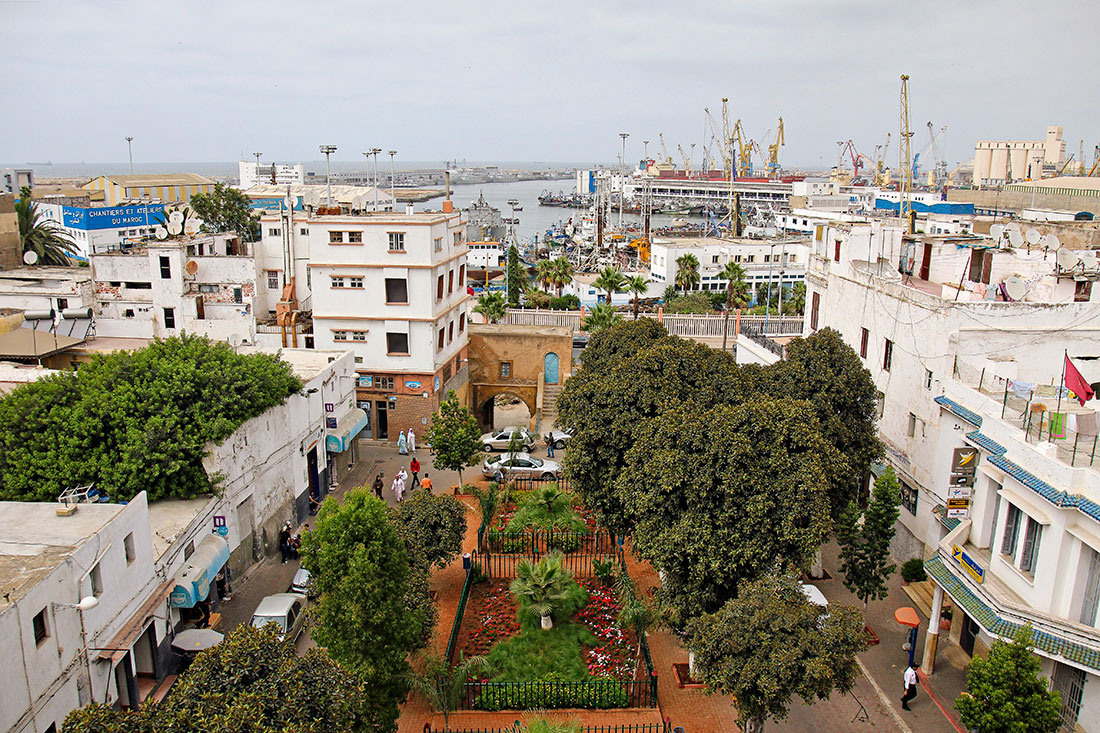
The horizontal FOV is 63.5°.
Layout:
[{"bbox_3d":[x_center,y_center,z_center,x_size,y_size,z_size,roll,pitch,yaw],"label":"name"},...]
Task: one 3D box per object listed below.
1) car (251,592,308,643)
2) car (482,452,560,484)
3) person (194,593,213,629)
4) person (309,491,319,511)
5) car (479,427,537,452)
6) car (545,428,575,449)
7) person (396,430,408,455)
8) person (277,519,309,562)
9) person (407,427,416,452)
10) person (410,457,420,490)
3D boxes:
[{"bbox_3d":[-10.607,10.031,35.209,1.671,1.608,2.316,0,14,14],"label":"car"},{"bbox_3d":[-1.574,5.549,48.320,3.813,1.168,1.717,-2,11,-1],"label":"car"},{"bbox_3d":[-13.789,9.719,35.115,0.635,1.204,1.322,-10,16,-26],"label":"person"},{"bbox_3d":[-11.672,6.694,44.167,0.459,0.803,1.007,-5,14,-6],"label":"person"},{"bbox_3d":[-2.471,4.197,51.485,2.386,0.973,1.479,4,8,1],"label":"car"},{"bbox_3d":[0.443,4.265,52.359,1.914,0.999,1.210,3,0,-12],"label":"car"},{"bbox_3d":[-8.731,4.376,52.428,0.612,1.158,2.214,-5,14,-9],"label":"person"},{"bbox_3d":[-11.974,7.929,40.655,1.056,1.389,2.221,-8,15,-19],"label":"person"},{"bbox_3d":[-8.175,4.305,52.507,0.522,1.361,2.017,-6,14,-10],"label":"person"},{"bbox_3d":[-7.248,5.584,47.531,0.438,1.474,1.745,-6,14,-10],"label":"person"}]
